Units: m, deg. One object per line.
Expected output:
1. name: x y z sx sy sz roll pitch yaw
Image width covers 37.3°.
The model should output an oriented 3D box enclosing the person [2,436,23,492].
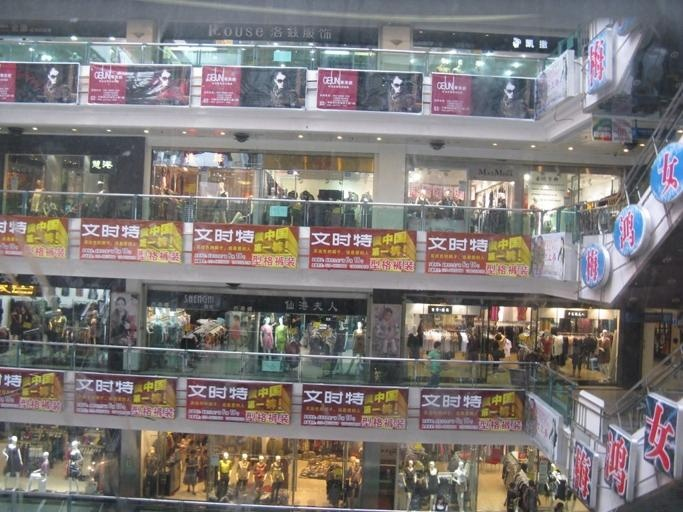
1. person: -9.217 5.786 28.107 0.533 1.383 0.559 -2 15 -11

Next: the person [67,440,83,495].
1. person: -7.537 5.956 28.375 0.446 1.336 0.498 3 15 7

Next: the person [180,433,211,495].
1. person: -4.175 6.018 28.878 0.731 1.569 0.582 -1 15 -8

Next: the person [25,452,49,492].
1. person: -8.506 6.100 28.068 0.598 0.955 0.793 -1 15 -10

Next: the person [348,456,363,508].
1. person: 0.398 6.394 28.342 0.349 1.280 0.539 1 14 0
